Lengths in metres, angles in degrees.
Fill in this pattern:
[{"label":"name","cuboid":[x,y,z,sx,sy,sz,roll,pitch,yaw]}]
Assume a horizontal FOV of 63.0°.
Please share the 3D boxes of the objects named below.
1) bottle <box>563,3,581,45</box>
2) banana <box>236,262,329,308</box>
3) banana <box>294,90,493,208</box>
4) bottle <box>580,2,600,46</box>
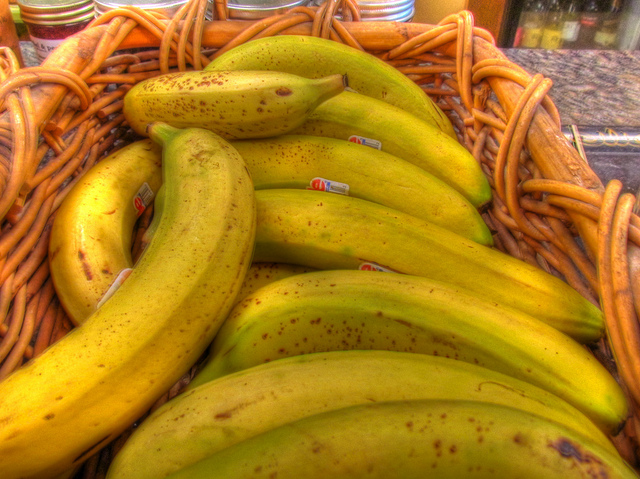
[{"label":"bottle","cuboid":[1.271,-1.084,2.639,0.062,0.193,0.130,24,31,34]},{"label":"banana","cuboid":[-0.049,0.062,1.005,0.216,0.058,0.070,-12,23,-15]},{"label":"banana","cuboid":[0.097,-0.269,1.165,0.553,0.168,0.155,11,36,21]},{"label":"bottle","cuboid":[1.365,-1.095,2.658,0.115,0.198,0.042,-1,26,-13]}]
